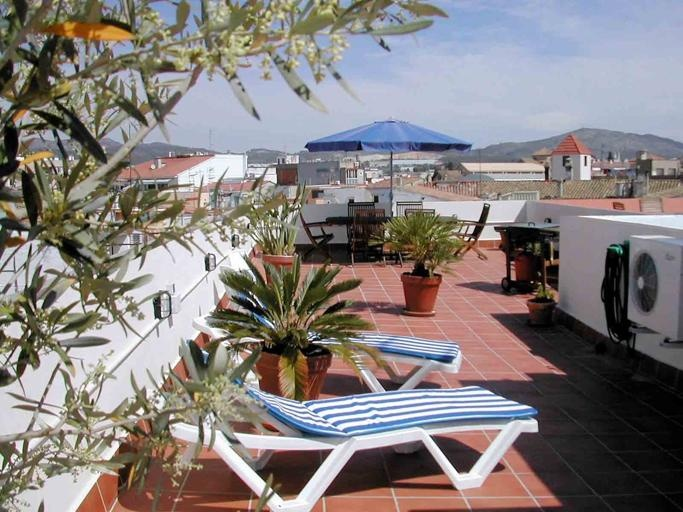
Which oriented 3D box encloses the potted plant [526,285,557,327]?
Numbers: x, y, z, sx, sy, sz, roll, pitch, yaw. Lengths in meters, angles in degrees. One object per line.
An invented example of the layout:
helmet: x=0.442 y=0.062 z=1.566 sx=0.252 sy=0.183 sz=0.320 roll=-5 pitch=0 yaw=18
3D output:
potted plant: x=2.722 y=0.716 z=7.076 sx=0.529 sy=0.643 sz=0.537 roll=0 pitch=-2 yaw=-1

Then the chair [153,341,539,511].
chair: x=0.280 y=1.111 z=3.235 sx=1.893 sy=0.830 sz=0.647 roll=-3 pitch=10 yaw=-20

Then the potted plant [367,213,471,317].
potted plant: x=1.199 y=0.112 z=7.774 sx=1.500 sy=1.541 sz=1.545 roll=2 pitch=0 yaw=1

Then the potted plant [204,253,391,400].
potted plant: x=-0.379 y=0.587 z=4.470 sx=1.385 sy=0.936 sz=1.287 roll=2 pitch=-5 yaw=11
